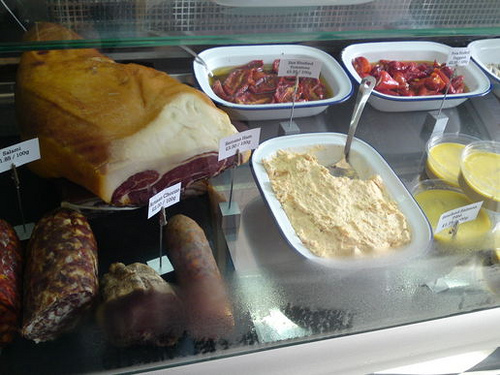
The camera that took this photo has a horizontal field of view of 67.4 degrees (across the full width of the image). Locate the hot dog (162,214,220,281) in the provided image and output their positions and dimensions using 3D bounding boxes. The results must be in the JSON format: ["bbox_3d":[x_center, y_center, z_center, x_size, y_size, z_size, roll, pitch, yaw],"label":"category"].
[{"bbox_3d":[-0.149,0.153,0.961,0.085,0.064,0.191,-25,84,-11],"label":"hot dog"}]

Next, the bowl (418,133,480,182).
[{"bbox_3d":[0.648,-0.115,1.348,0.202,0.224,0.084,-2,83,-6],"label":"bowl"}]

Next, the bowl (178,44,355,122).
[{"bbox_3d":[0.083,-0.311,1.312,0.446,0.136,0.313,-3,50,-12],"label":"bowl"}]

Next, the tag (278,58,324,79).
[{"bbox_3d":[0.157,-0.375,1.182,0.098,0.068,0.108,-11,21,-33],"label":"tag"}]

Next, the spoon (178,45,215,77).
[{"bbox_3d":[-0.160,-0.397,1.218,0.030,0.189,0.029,-49,57,4],"label":"spoon"}]

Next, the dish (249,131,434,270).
[{"bbox_3d":[0.244,0.013,1.099,0.440,0.119,0.488,-11,50,-11],"label":"dish"}]

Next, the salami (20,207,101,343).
[{"bbox_3d":[-0.426,0.186,0.851,0.166,0.114,0.274,-2,61,-20],"label":"salami"}]

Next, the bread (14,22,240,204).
[{"bbox_3d":[-0.359,-0.206,1.000,0.505,0.221,0.463,-31,56,-25],"label":"bread"}]

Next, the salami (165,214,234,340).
[{"bbox_3d":[-0.139,0.221,0.983,0.139,0.101,0.306,-13,81,-34],"label":"salami"}]

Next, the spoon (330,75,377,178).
[{"bbox_3d":[0.317,-0.195,1.203,0.104,0.414,0.059,15,11,13],"label":"spoon"}]

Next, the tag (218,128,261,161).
[{"bbox_3d":[-0.034,-0.120,1.032,0.106,0.061,0.008,-28,52,-26],"label":"tag"}]

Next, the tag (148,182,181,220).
[{"bbox_3d":[-0.201,0.025,0.892,0.002,0.061,0.103,31,42,26],"label":"tag"}]

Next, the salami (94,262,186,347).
[{"bbox_3d":[-0.243,0.279,0.908,0.173,0.210,0.197,23,34,31],"label":"salami"}]

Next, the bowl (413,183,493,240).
[{"bbox_3d":[0.605,0.074,1.115,0.174,0.047,0.179,1,54,-2],"label":"bowl"}]

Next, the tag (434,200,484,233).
[{"bbox_3d":[0.604,0.079,1.073,0.196,0.071,0.028,-20,51,-17],"label":"tag"}]

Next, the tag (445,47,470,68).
[{"bbox_3d":[0.755,-0.467,1.357,0.102,0.074,0.014,-1,20,-6],"label":"tag"}]
